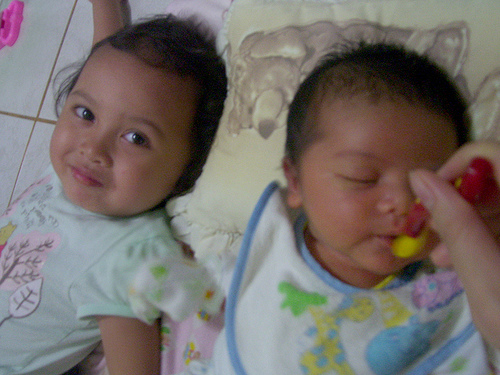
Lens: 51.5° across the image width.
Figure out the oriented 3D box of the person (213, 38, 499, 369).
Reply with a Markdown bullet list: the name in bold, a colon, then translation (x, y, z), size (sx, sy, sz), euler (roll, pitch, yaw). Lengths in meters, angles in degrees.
- **person**: translation (0.290, 0.068, 1.364), size (0.760, 0.790, 0.516), euler (8, 26, 21)

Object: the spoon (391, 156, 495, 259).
- **spoon**: translation (0.426, 0.028, 1.214), size (0.074, 0.245, 0.143), euler (41, 22, 7)

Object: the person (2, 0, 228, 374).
- **person**: translation (-0.420, 0.019, 1.618), size (0.730, 0.967, 0.699), euler (-3, 25, -2)
